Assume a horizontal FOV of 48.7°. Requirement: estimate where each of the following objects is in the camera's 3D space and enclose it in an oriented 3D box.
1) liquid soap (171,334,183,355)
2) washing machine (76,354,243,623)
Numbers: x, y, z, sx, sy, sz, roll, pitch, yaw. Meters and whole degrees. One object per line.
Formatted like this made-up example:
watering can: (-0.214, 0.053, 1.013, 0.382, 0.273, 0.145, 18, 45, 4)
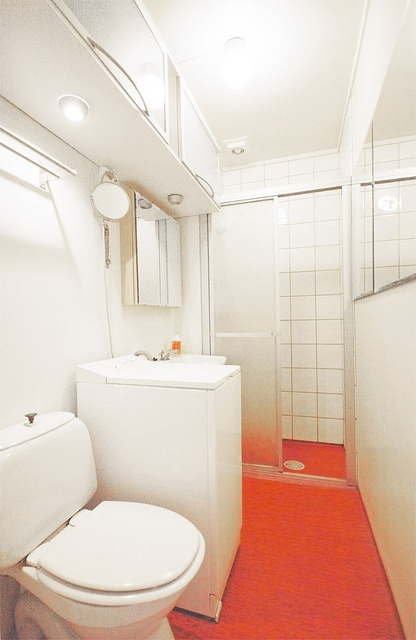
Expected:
liquid soap: (-0.184, 0.139, 2.745, 0.074, 0.173, 0.085, 0, -5, 0)
washing machine: (-0.073, 0.621, 2.261, 0.639, 1.524, 0.733, 0, 3, 12)
